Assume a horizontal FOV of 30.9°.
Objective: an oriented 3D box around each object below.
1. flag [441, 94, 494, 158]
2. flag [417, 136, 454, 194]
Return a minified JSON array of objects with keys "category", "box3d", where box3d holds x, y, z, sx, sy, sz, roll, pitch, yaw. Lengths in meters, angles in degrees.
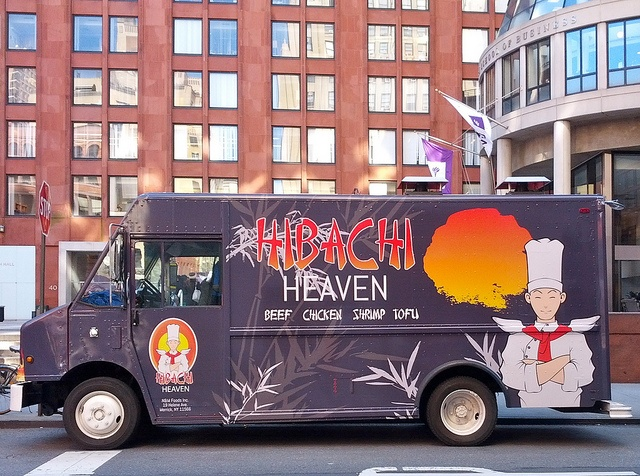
[{"category":"flag","box3d":[6.132,-4.415,46.149,1.340,2.454,3.196,-1,-4,10]},{"category":"flag","box3d":[4.355,-2.924,44.459,1.434,2.096,0.190,11,40,7]}]
